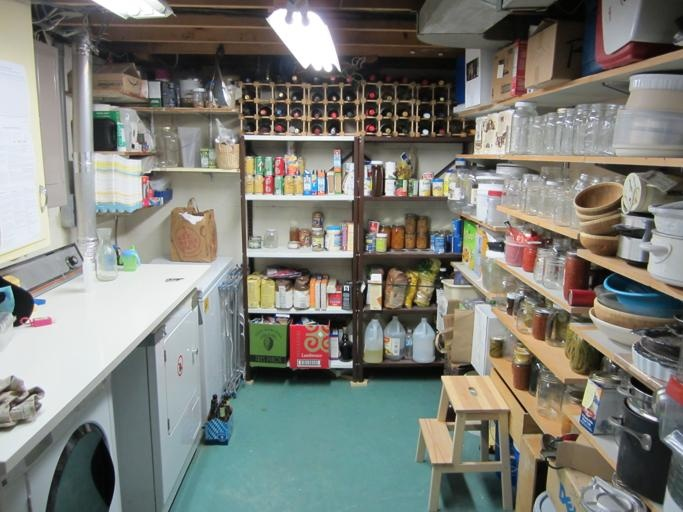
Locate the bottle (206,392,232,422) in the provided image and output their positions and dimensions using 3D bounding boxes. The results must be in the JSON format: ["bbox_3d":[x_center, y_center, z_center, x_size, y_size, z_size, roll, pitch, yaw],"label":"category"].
[{"bbox_3d":[-0.820,1.015,3.327,0.131,0.177,0.064,1,-1,-25],"label":"bottle"}]

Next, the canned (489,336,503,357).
[{"bbox_3d":[0.917,0.540,2.979,0.094,0.109,0.097,-1,17,-4],"label":"canned"}]

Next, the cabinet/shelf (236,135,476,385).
[{"bbox_3d":[0.111,0.021,3.888,1.851,1.880,0.624,0,5,-3],"label":"cabinet/shelf"}]

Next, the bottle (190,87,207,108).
[{"bbox_3d":[-1.071,-1.197,3.736,0.092,0.165,0.135,-1,5,-20],"label":"bottle"}]

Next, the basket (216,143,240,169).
[{"bbox_3d":[-0.853,-0.754,3.745,0.179,0.188,0.191,0,7,-2],"label":"basket"}]

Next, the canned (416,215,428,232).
[{"bbox_3d":[0.658,-0.258,4.009,0.072,0.134,0.147,3,5,19],"label":"canned"}]

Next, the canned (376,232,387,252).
[{"bbox_3d":[0.321,-0.109,3.919,0.100,0.156,0.082,0,5,-14],"label":"canned"}]

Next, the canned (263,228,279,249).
[{"bbox_3d":[-0.604,-0.151,4.051,0.131,0.176,0.142,1,1,-13],"label":"canned"}]

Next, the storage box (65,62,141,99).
[{"bbox_3d":[-1.549,-1.205,3.480,0.296,0.168,0.301,-2,7,-4],"label":"storage box"}]

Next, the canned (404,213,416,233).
[{"bbox_3d":[0.557,-0.264,3.966,0.092,0.150,0.046,1,5,7],"label":"canned"}]

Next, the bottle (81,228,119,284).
[{"bbox_3d":[-1.450,-0.007,2.958,0.192,0.317,0.431,-2,6,-28],"label":"bottle"}]

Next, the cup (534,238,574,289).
[{"bbox_3d":[1.026,0.038,2.474,0.160,0.215,0.219,5,8,11],"label":"cup"}]
